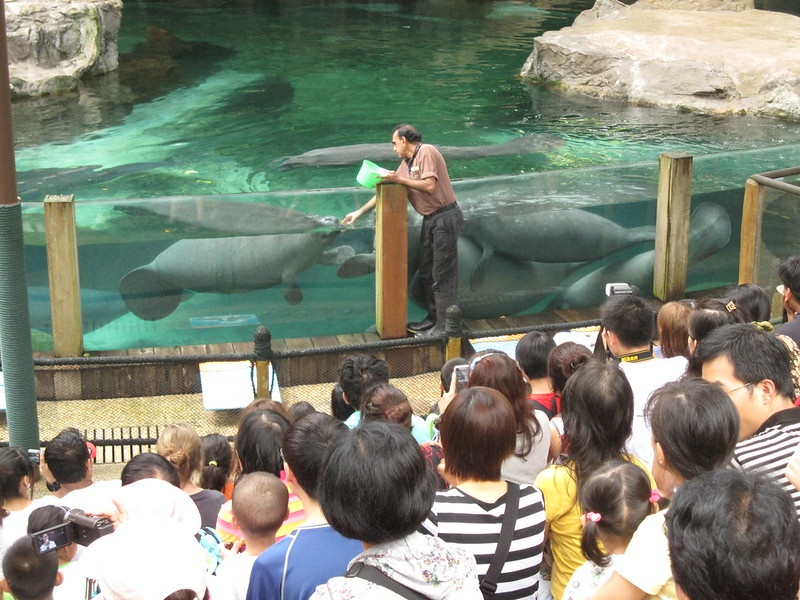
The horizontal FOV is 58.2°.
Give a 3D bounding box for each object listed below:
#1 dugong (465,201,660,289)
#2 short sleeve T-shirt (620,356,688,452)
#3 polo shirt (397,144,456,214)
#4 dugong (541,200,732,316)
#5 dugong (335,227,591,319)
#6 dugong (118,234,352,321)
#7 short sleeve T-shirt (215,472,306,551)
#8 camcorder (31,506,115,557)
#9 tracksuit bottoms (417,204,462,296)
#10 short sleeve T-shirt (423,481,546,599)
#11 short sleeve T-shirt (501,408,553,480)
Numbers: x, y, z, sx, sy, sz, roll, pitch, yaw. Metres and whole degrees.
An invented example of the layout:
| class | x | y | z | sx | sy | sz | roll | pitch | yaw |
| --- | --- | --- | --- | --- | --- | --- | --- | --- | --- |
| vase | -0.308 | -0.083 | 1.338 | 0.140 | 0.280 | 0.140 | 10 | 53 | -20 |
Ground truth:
| class | x | y | z | sx | sy | sz | roll | pitch | yaw |
| --- | --- | --- | --- | --- | --- | --- | --- | --- | --- |
| dugong | 1.805 | -0.599 | 8.090 | 2.036 | 0.520 | 0.909 | 1 | -9 | -5 |
| short sleeve T-shirt | 1.300 | 0.518 | 3.695 | 0.161 | 0.453 | 0.386 | 22 | -29 | -37 |
| polo shirt | 0.268 | -1.200 | 7.243 | 0.454 | 0.661 | 0.717 | -18 | 8 | -24 |
| dugong | 2.815 | -0.404 | 8.581 | 2.636 | 0.823 | 0.649 | -25 | 14 | -1 |
| dugong | 0.789 | -0.297 | 8.081 | 2.813 | 0.885 | 0.953 | -1 | 34 | -22 |
| dugong | -1.722 | -0.166 | 7.245 | 1.451 | 0.377 | 0.921 | -3 | 33 | -6 |
| short sleeve T-shirt | -0.776 | 1.013 | 3.564 | 0.279 | 0.123 | 0.324 | -1 | 36 | 10 |
| camcorder | -1.372 | 0.967 | 2.967 | 0.237 | 0.075 | 0.216 | 2 | 14 | 22 |
| tracksuit bottoms | 0.441 | -0.380 | 7.371 | 0.407 | 1.039 | 0.496 | -3 | 8 | -19 |
| short sleeve T-shirt | 0.307 | 0.882 | 2.639 | 0.447 | 0.506 | 0.273 | -17 | 51 | -10 |
| short sleeve T-shirt | 0.634 | 0.726 | 3.490 | 0.141 | 0.328 | 0.268 | 19 | 19 | 30 |
